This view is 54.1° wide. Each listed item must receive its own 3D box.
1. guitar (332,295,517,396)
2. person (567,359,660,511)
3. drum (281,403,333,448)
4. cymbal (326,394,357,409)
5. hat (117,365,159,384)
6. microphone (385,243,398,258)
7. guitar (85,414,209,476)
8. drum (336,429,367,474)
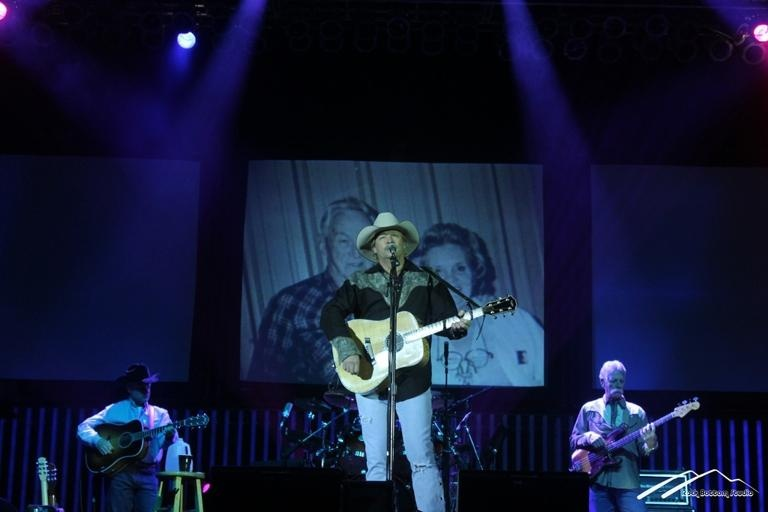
[{"bbox_3d":[0.379,0.805,7.164,1.832,0.880,0.265,-16,-11,14],"label":"guitar"},{"bbox_3d":[2.649,2.069,8.701,0.941,1.692,0.420,-5,-13,12],"label":"person"},{"bbox_3d":[-1.026,2.085,9.578,0.560,0.650,0.570,-7,17,-31],"label":"drum"},{"bbox_3d":[-0.520,1.755,9.132,0.251,0.064,0.286,8,-30,0],"label":"cymbal"},{"bbox_3d":[-3.099,1.496,9.487,0.353,0.160,0.309,0,-3,-9],"label":"hat"},{"bbox_3d":[0.077,-0.033,7.212,0.097,0.130,0.140,1,-57,-2],"label":"microphone"},{"bbox_3d":[-3.022,2.325,9.218,1.282,0.624,0.194,-2,-13,-2],"label":"guitar"},{"bbox_3d":[-0.380,2.437,9.102,0.461,0.693,0.206,-4,-21,9],"label":"drum"}]
